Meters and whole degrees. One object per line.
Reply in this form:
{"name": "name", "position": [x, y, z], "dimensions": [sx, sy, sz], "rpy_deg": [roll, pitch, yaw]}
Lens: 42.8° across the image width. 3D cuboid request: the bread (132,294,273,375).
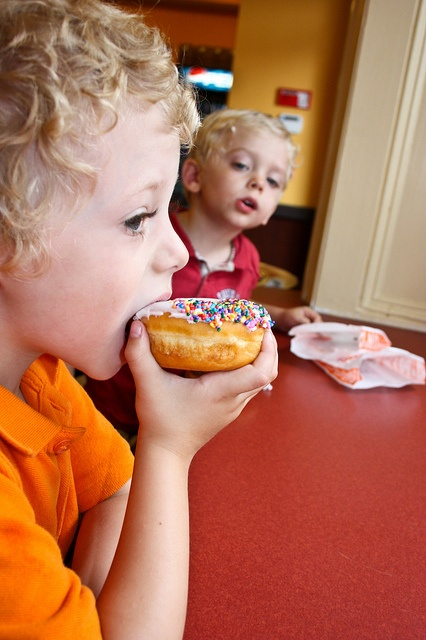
{"name": "bread", "position": [-0.005, 0.016, 0.721], "dimensions": [0.121, 0.059, 0.126], "rpy_deg": [1, 4, 34]}
